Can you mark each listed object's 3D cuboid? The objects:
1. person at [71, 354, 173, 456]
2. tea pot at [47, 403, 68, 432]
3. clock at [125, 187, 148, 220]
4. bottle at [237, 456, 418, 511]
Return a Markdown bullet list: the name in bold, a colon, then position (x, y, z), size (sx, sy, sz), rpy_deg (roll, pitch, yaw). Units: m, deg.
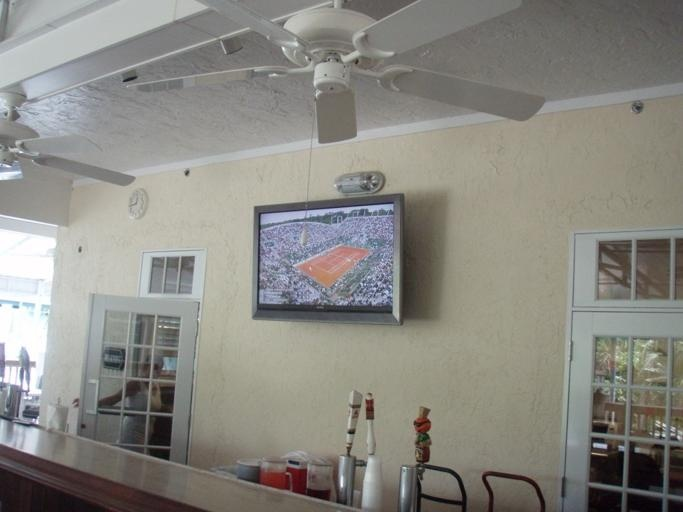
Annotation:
- **person**: position (-1.931, 1.326, 4.842), size (0.925, 1.168, 0.372), rpy_deg (3, -4, -36)
- **tea pot**: position (-2.450, 1.404, 4.665), size (0.157, 0.229, 0.393), rpy_deg (6, -10, -27)
- **clock**: position (-2.255, -0.586, 5.983), size (0.328, 0.367, 0.052), rpy_deg (-11, -17, 41)
- **bottle**: position (-0.062, 1.020, 2.502), size (0.865, 0.245, 0.309), rpy_deg (1, -9, 9)
